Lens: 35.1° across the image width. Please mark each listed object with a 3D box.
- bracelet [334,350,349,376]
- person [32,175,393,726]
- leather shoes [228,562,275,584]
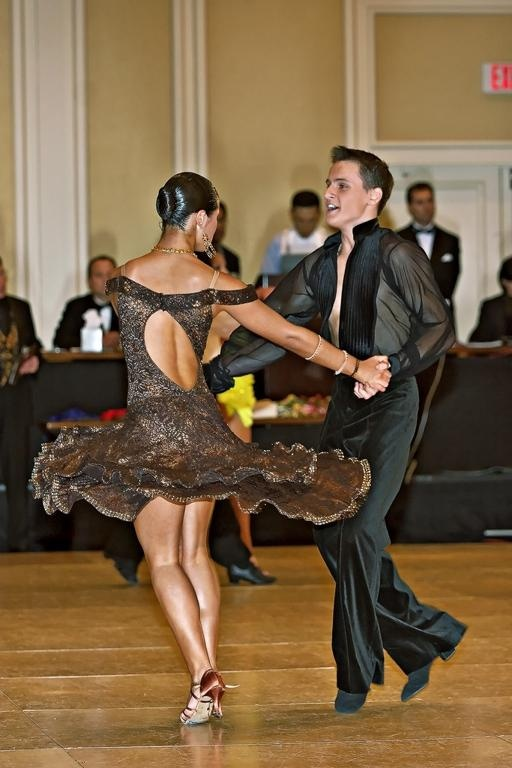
[{"bbox_3d":[0.220,-0.054,2.081,0.019,0.051,0.045,17,-8,-7],"label":"bracelet"},{"bbox_3d":[-0.100,0.154,1.984,0.794,1.350,0.490,-8,11,-28],"label":"person"},{"bbox_3d":[-0.031,1.013,4.336,0.335,0.127,0.100,0,5,-11],"label":"leather shoes"}]
